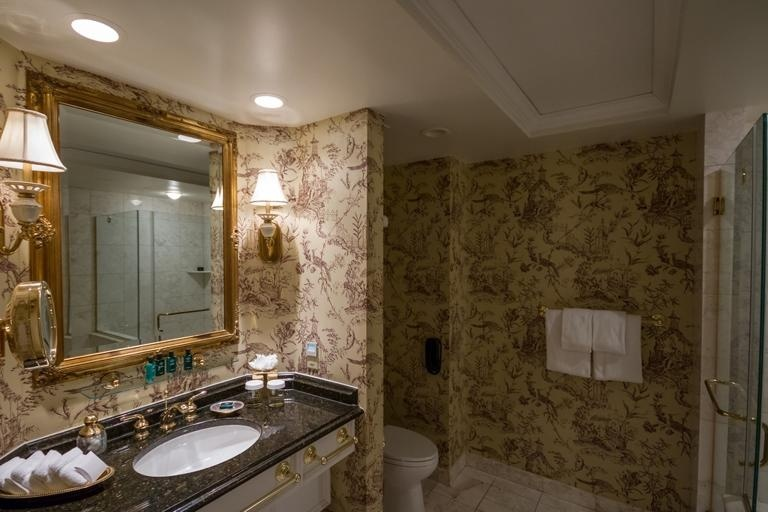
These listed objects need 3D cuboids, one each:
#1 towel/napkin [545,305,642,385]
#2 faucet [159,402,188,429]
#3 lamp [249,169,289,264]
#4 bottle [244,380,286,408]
[{"bbox_3d":[1.555,0.644,3.714,0.620,0.503,0.104,0,0,29],"label":"towel/napkin"},{"bbox_3d":[-1.263,0.958,3.017,0.143,0.135,0.105,8,-10,-37],"label":"faucet"},{"bbox_3d":[-0.769,-0.277,3.414,0.244,0.566,0.257,-2,0,-14],"label":"lamp"},{"bbox_3d":[-0.777,0.881,3.321,0.248,0.164,0.248,-2,0,0],"label":"bottle"}]
